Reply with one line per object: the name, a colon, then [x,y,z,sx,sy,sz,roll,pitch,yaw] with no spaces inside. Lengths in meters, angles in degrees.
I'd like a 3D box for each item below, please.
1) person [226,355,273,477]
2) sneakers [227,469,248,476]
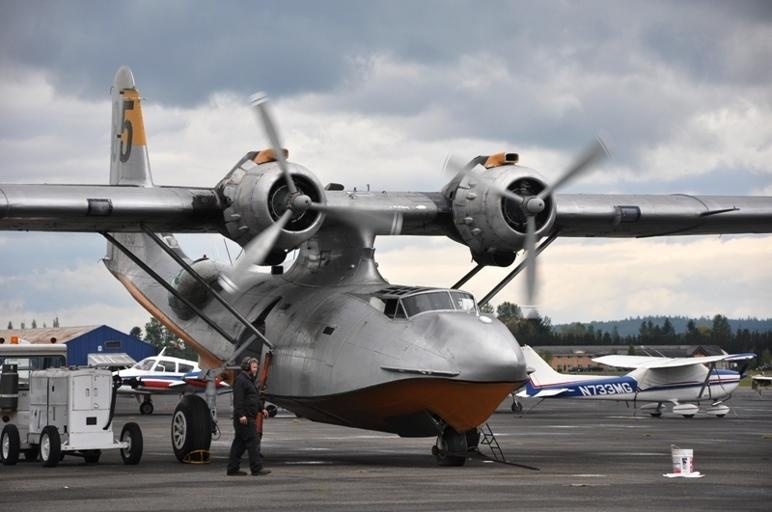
person: [-2.926,3.449,21.716,0.756,1.849,0.826,5,-3,-5]
sneakers: [-3.118,4.614,21.589,0.466,0.173,0.149,-1,4,11]
